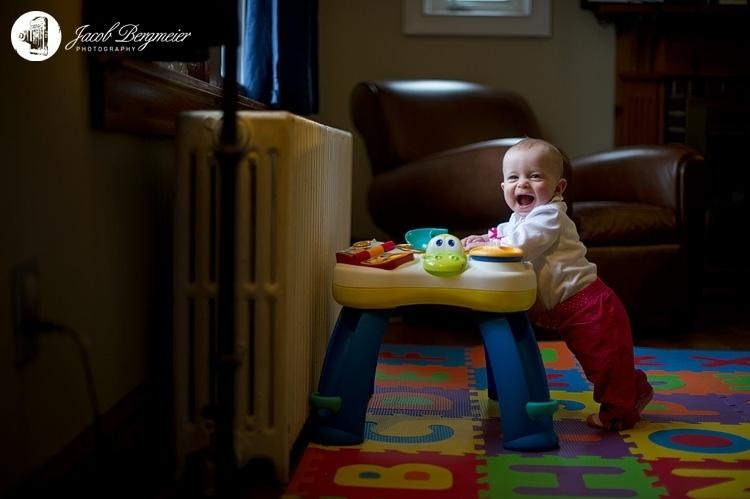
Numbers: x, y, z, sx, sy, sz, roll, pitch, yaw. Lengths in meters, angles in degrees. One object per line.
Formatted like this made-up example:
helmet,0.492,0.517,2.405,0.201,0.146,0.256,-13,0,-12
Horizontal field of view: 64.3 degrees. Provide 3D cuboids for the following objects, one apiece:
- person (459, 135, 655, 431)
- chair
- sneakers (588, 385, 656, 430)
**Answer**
person,0.506,0.072,1.641,0.511,0.736,0.260,5,11,25
chair,0.629,-0.199,2.540,1.341,1.081,1.297,3,8,30
sneakers,0.646,0.423,1.640,0.218,0.155,0.074,0,7,-9
